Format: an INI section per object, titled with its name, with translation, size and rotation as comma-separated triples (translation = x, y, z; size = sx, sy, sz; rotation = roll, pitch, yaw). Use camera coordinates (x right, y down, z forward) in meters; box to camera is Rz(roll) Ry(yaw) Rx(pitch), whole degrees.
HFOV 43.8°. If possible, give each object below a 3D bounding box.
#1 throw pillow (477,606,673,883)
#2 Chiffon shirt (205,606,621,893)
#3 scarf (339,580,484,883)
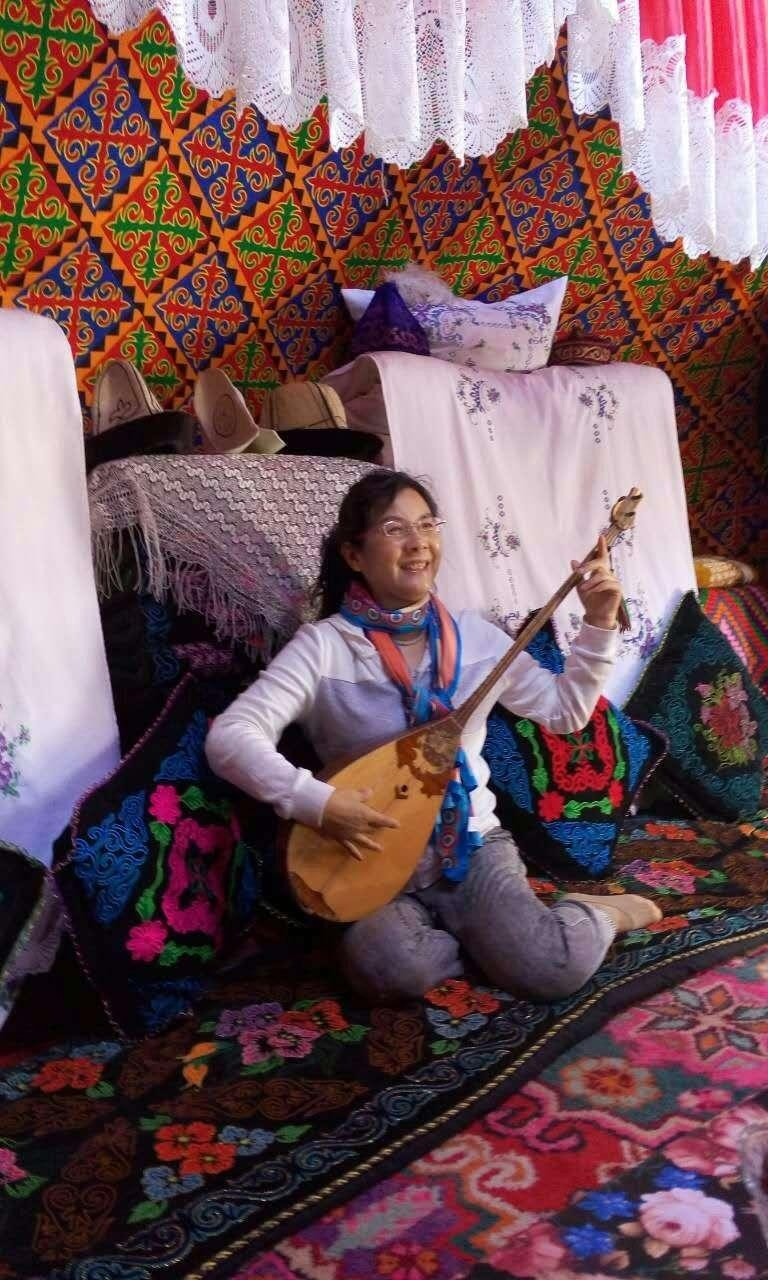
[throw pillow]
translation = 0.476, 0.283, 2.250
size = 0.165, 0.535, 0.552
rotation = -21, 24, 41
[Chiffon shirt]
translation = -0.038, 0.081, 1.807
size = 0.723, 0.428, 0.553
rotation = -7, 17, -30
[scarf]
translation = 0.083, 0.137, 1.736
size = 0.254, 0.534, 0.246
rotation = -9, 20, -34
